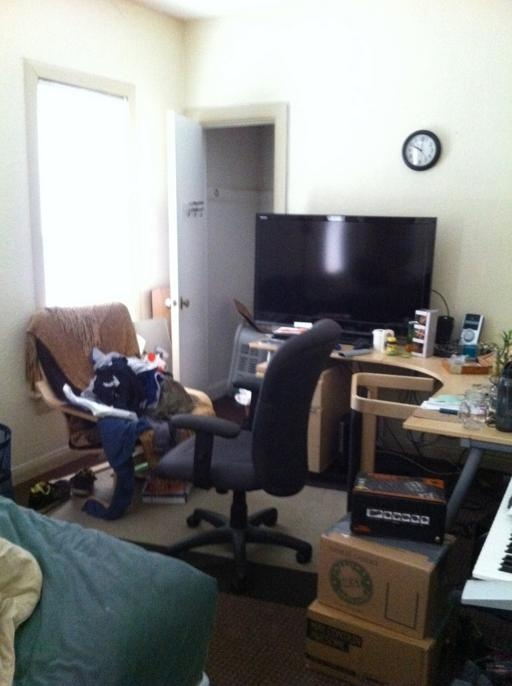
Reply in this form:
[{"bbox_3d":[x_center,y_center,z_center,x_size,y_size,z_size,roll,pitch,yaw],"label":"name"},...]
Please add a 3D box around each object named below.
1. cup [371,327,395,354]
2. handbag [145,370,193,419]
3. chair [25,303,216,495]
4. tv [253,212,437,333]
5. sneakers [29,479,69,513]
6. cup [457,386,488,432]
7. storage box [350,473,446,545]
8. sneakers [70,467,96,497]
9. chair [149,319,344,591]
[{"bbox_3d":[0.736,0.006,3.139,0.143,0.167,0.084,10,10,43],"label":"cup"},{"bbox_3d":[-0.422,0.266,2.737,0.103,0.213,0.262,-37,-19,23],"label":"handbag"},{"bbox_3d":[-0.744,0.233,2.910,0.873,0.760,0.678,11,18,37],"label":"chair"},{"bbox_3d":[0.495,-0.415,3.335,1.171,0.737,0.124,5,9,32],"label":"tv"},{"bbox_3d":[-1.061,0.777,2.776,0.046,0.132,0.185,-9,5,31],"label":"sneakers"},{"bbox_3d":[0.768,0.230,1.893,0.092,0.094,0.211,4,10,28],"label":"cup"},{"bbox_3d":[0.455,0.515,1.710,0.274,0.159,0.236,2,7,12],"label":"storage box"},{"bbox_3d":[-0.925,0.749,2.881,0.089,0.119,0.125,-19,-32,16],"label":"sneakers"},{"bbox_3d":[-0.014,0.342,2.451,0.814,1.369,0.819,5,8,20],"label":"chair"}]
